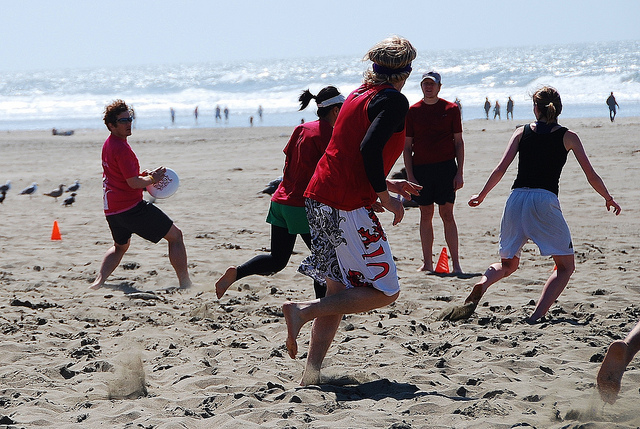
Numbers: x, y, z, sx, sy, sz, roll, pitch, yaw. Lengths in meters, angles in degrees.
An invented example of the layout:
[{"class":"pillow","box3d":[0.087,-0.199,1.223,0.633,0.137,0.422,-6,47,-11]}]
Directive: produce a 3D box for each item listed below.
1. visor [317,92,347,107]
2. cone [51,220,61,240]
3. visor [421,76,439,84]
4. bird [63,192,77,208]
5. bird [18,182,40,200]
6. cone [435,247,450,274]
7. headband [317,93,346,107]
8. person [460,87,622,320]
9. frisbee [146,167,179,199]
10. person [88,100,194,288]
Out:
[{"class":"visor","box3d":[0.151,-1.376,11.194,0.267,0.056,0.173,-14,6,4]},{"class":"cone","box3d":[-4.570,0.259,15.900,0.158,0.286,0.432,-6,10,-15]},{"class":"visor","box3d":[1.578,-1.924,13.153,0.251,0.093,0.180,-1,9,7]},{"class":"bird","box3d":[-5.170,-0.290,18.967,0.237,0.281,0.631,-5,9,-14]},{"class":"bird","box3d":[-6.500,-0.527,20.486,0.412,0.317,0.928,-6,9,-18]},{"class":"cone","box3d":[1.824,0.662,13.722,0.211,0.346,0.507,-2,9,7]},{"class":"headband","box3d":[0.127,-1.382,11.203,0.247,0.076,0.163,-16,6,4]},{"class":"person","box3d":[2.757,-0.125,11.666,1.632,2.926,0.450,-1,11,11]},{"class":"frisbee","box3d":[-2.262,-0.459,13.178,0.339,0.456,0.540,-1,10,9]},{"class":"person","box3d":[-2.716,-0.305,13.244,1.396,2.674,1.142,-5,11,-12]}]
